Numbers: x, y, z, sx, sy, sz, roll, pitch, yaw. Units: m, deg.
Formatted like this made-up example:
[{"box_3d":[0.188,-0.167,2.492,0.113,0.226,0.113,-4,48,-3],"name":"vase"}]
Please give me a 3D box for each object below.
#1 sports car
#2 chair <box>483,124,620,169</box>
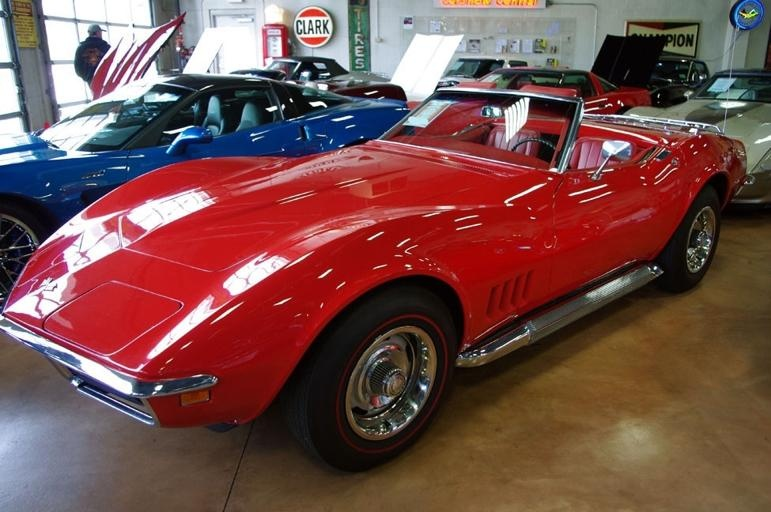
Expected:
[{"box_3d":[0.439,-0.254,3.291,4.912,1.755,2.251,-16,30,-38],"name":"sports car"},{"box_3d":[1.064,-0.720,3.073,0.722,0.212,0.474,12,7,-2],"name":"chair"}]
